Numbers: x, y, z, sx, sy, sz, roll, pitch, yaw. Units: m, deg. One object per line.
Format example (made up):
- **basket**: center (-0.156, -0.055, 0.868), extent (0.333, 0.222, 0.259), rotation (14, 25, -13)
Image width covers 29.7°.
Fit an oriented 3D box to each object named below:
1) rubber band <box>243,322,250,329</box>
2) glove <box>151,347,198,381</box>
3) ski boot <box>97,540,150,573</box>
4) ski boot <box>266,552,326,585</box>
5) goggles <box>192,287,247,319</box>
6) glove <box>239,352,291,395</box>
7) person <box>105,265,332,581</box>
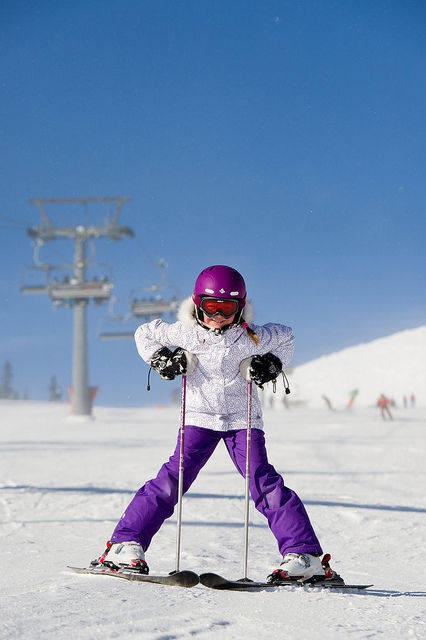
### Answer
- **rubber band**: center (0.130, 0.023, 3.224), extent (0.016, 0.019, 0.007), rotation (-3, -26, -17)
- **glove**: center (-0.174, 0.182, 3.262), extent (0.167, 0.111, 0.068), rotation (13, 6, 27)
- **ski boot**: center (-0.336, 0.892, 3.041), extent (0.257, 0.103, 0.083), rotation (-1, -12, 45)
- **ski boot**: center (0.271, 0.940, 3.038), extent (0.288, 0.110, 0.091), rotation (7, -18, -21)
- **goggles**: center (0.024, -0.062, 3.196), extent (0.217, 0.124, 0.105), rotation (-2, -6, -2)
- **glove**: center (0.203, 0.205, 3.251), extent (0.155, 0.173, 0.081), rotation (-7, 1, -4)
- **person**: center (-0.014, 0.405, 3.227), extent (0.863, 1.228, 0.335), rotation (-2, -7, -5)
